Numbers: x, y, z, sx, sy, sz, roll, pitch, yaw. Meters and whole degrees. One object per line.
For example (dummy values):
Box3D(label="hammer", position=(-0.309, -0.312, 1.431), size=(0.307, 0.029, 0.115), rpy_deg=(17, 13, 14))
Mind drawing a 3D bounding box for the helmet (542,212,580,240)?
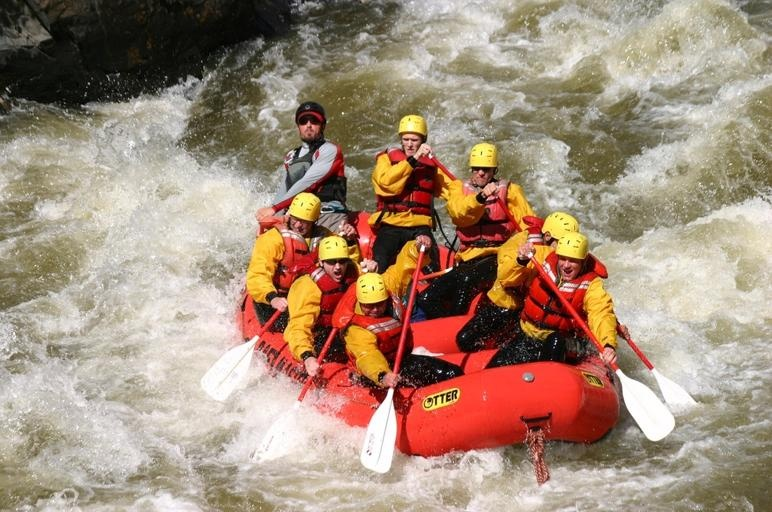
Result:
Box3D(label="helmet", position=(2.273, -0.416, 12.504), size=(0.422, 0.317, 0.365), rpy_deg=(-9, 94, 26))

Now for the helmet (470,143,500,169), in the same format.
Box3D(label="helmet", position=(1.367, -1.402, 13.255), size=(0.278, 0.303, 0.380), rpy_deg=(2, 43, 11))

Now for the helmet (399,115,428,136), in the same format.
Box3D(label="helmet", position=(0.401, -1.826, 13.568), size=(0.292, 0.392, 0.310), rpy_deg=(2, 107, 12))

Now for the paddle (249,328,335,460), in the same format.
Box3D(label="paddle", position=(-1.185, 1.827, 12.427), size=(0.223, 0.155, 1.945), rpy_deg=(35, 65, -9))

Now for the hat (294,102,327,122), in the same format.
Box3D(label="hat", position=(-1.088, -2.089, 13.705), size=(0.396, 0.340, 0.315), rpy_deg=(-1, 80, 1))

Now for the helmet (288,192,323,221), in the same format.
Box3D(label="helmet", position=(-1.069, -0.689, 12.747), size=(0.317, 0.336, 0.413), rpy_deg=(22, 67, 3))

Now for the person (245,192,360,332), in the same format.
Box3D(label="person", position=(-1.302, 0.337, 13.199), size=(1.412, 2.403, 1.093), rpy_deg=(-17, 41, -41))
